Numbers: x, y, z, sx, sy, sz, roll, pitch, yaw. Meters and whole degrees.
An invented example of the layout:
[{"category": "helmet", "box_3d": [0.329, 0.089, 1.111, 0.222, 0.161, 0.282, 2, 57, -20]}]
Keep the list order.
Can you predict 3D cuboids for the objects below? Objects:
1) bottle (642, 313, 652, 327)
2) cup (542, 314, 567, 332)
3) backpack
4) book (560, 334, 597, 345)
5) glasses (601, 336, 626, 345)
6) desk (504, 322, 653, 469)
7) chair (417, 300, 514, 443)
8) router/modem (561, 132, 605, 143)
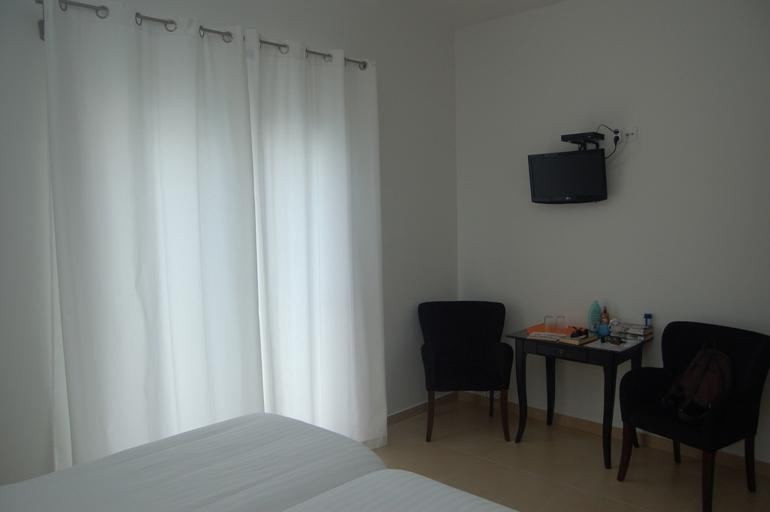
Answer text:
[{"category": "bottle", "box_3d": [2.093, 0.504, 4.721, 0.083, 0.151, 0.091, 1, 2, 0]}, {"category": "cup", "box_3d": [1.437, 0.568, 5.046, 0.121, 0.139, 0.165, 0, -4, 29]}, {"category": "backpack", "box_3d": [2.178, 0.841, 4.128, 0.179, 0.499, 0.345, 27, 8, -44]}, {"category": "book", "box_3d": [1.525, 0.651, 4.638, 0.298, 0.057, 0.136, 1, 7, -6]}, {"category": "glasses", "box_3d": [1.770, 0.650, 4.620, 0.078, 0.036, 0.107, 0, 1, -37]}, {"category": "desk", "box_3d": [1.578, 1.106, 4.901, 0.682, 0.902, 1.004, -3, 5, -42]}, {"category": "chair", "box_3d": [0.658, 0.911, 4.992, 0.752, 1.068, 0.702, -1, -5, 5]}, {"category": "router/modem", "box_3d": [1.626, -0.968, 4.836, 0.387, 0.096, 0.165, -1, 7, -20]}]
